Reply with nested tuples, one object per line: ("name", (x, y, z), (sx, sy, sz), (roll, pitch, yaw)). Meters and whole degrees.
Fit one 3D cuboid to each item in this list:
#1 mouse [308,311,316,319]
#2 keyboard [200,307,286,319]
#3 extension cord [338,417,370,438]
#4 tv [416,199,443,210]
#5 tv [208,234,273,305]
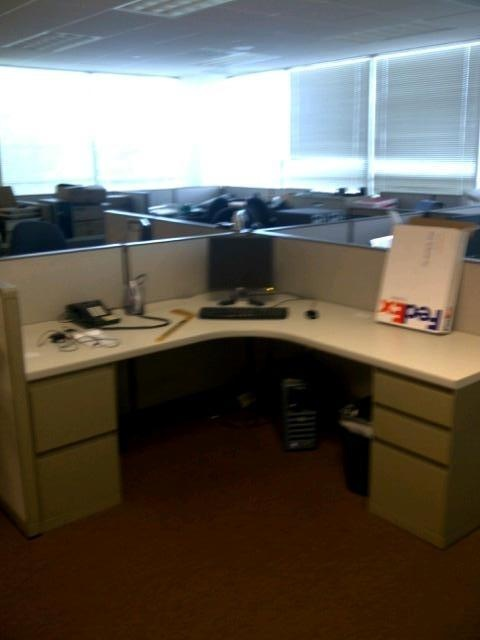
("mouse", (0.295, -0.021, 2.003), (0.032, 0.023, 0.032), (-5, 6, -42))
("keyboard", (0.017, -0.029, 2.019), (0.233, 0.038, 0.124), (-1, 11, -9))
("extension cord", (0.389, 0.372, 1.659), (0.026, 0.044, 0.087), (-9, 8, -40))
("tv", (1.909, -1.163, 4.909), (0.241, 0.133, 0.694), (3, 10, 22))
("tv", (-0.017, -0.258, 2.472), (0.319, 0.301, 0.309), (2, 3, -8))
